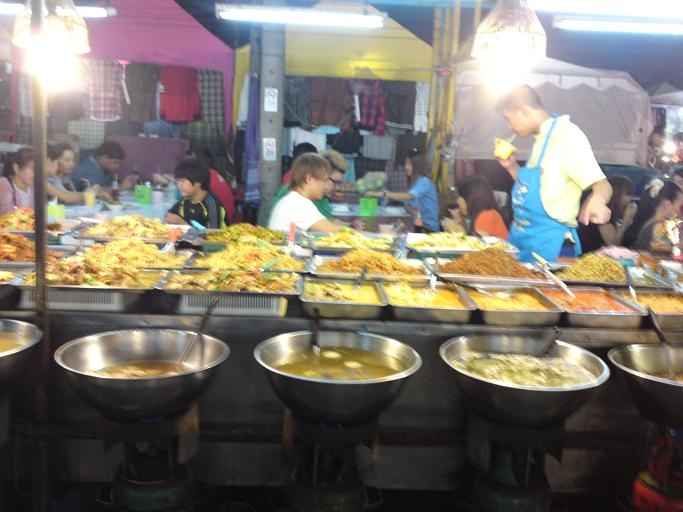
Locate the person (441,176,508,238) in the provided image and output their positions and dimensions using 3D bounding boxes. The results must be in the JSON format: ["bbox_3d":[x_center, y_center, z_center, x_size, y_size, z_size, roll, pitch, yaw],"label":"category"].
[{"bbox_3d":[1.132,-0.463,5.527,0.706,0.760,0.535,3,4,27],"label":"person"}]

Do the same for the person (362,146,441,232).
[{"bbox_3d":[0.785,-0.643,7.258,0.871,1.275,0.568,3,25,21],"label":"person"}]

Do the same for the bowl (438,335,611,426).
[{"bbox_3d":[0.866,0.563,2.759,0.524,0.185,0.527,0,11,0],"label":"bowl"}]

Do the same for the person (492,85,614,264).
[{"bbox_3d":[1.629,-0.647,4.588,0.854,1.382,1.058,-14,19,-43],"label":"person"}]

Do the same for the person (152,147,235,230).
[{"bbox_3d":[-1.457,-0.593,5.971,0.585,0.851,2.076,-4,14,-12],"label":"person"}]
